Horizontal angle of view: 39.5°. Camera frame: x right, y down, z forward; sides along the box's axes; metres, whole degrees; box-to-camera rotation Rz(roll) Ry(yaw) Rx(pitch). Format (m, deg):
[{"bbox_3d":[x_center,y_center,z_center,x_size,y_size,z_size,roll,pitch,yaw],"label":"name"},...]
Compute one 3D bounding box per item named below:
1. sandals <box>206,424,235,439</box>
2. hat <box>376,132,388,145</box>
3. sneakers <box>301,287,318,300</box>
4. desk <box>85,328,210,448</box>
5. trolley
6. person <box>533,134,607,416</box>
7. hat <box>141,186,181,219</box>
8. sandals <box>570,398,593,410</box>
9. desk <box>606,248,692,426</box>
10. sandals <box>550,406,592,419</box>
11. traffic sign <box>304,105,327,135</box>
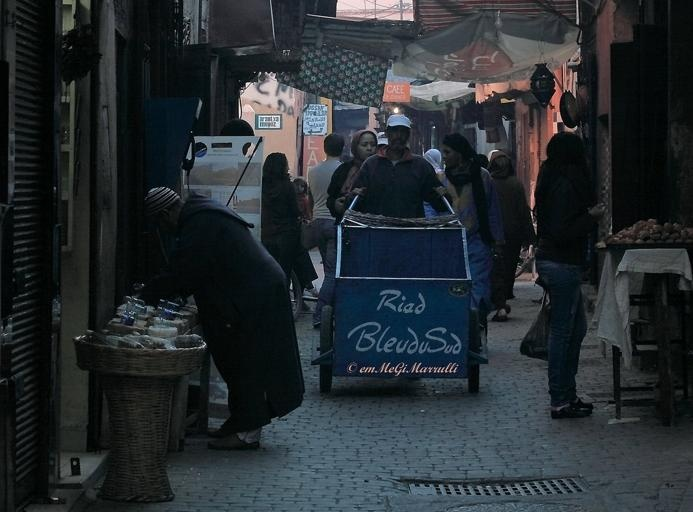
[{"bbox_3d":[-0.974,1.322,7.291,0.261,0.126,0.090,2,-7,8],"label":"sandals"},{"bbox_3d":[0.462,-1.515,12.593,0.254,0.116,0.343,0,-2,1],"label":"hat"},{"bbox_3d":[-0.554,0.528,13.527,0.341,0.157,0.122,3,11,-8],"label":"sneakers"},{"bbox_3d":[-1.295,0.780,6.420,0.820,0.669,0.807,1,-5,-1],"label":"desk"},{"bbox_3d":[0.577,0.320,9.679,1.689,1.736,2.875,0,11,8],"label":"trolley"},{"bbox_3d":[1.808,0.152,7.968,0.531,2.297,0.510,1,7,11],"label":"person"},{"bbox_3d":[-1.313,-0.391,6.947,0.232,0.179,0.165,-25,15,-27],"label":"hat"},{"bbox_3d":[1.967,1.224,8.015,0.218,0.099,0.082,6,5,-9],"label":"sandals"},{"bbox_3d":[2.362,0.622,7.719,0.699,1.409,0.417,1,7,17],"label":"desk"},{"bbox_3d":[1.834,1.273,7.909,0.330,0.095,0.111,0,8,3],"label":"sandals"},{"bbox_3d":[-0.910,-4.018,28.513,0.814,1.002,0.100,0,7,5],"label":"traffic sign"}]
